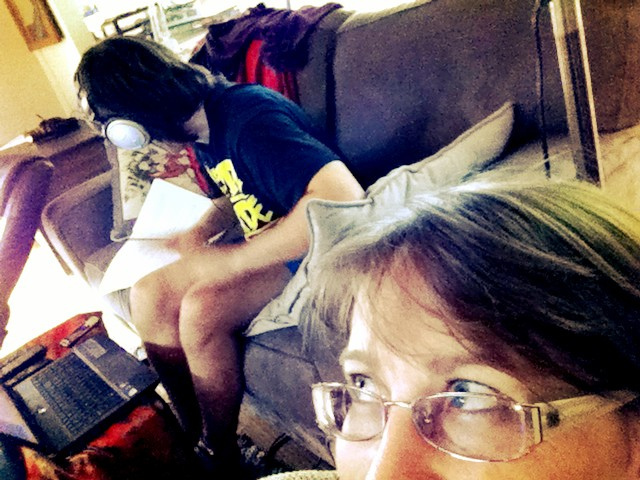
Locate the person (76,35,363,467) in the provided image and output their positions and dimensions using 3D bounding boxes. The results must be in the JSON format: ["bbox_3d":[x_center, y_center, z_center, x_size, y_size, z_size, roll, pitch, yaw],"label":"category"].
[{"bbox_3d":[-0.257,0.047,2.058,0.773,1.259,0.662,-13,13,-11],"label":"person"}]

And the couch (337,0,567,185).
[{"bbox_3d":[0.296,-0.361,1.605,0.543,0.354,0.261,-1,32,20],"label":"couch"}]
